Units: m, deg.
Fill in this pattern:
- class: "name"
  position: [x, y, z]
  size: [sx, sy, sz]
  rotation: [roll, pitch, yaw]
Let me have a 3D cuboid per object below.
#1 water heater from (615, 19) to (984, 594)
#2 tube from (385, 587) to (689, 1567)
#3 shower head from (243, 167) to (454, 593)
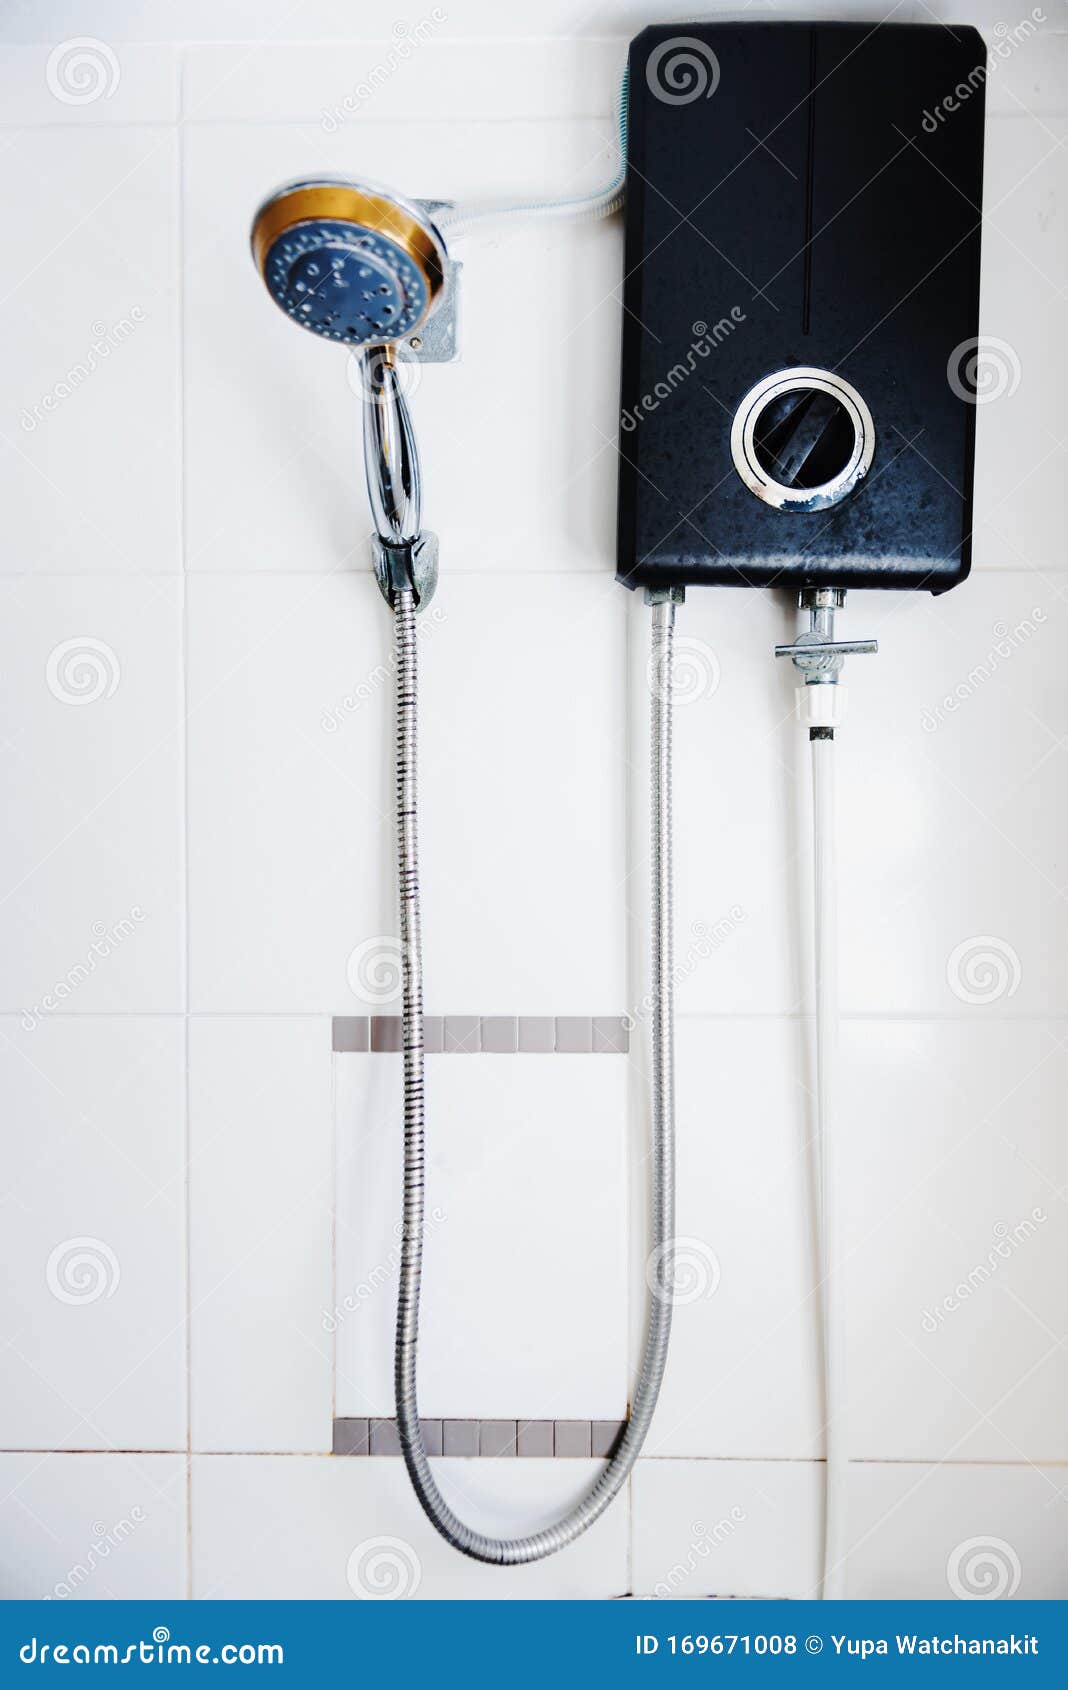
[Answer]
- class: "water heater"
  position: [0.193, -0.379, 1.279]
  size: [0.291, 0.390, 0.092]
  rotation: [1, 5, -4]
- class: "tube"
  position: [-0.010, 0.168, 1.393]
  size: [0.240, 0.769, 0.040]
  rotation: [3, 2, 17]
- class: "shower head"
  position: [-0.113, -0.342, 1.290]
  size: [0.121, 0.219, 0.377]
  rotation: [1, -28, 2]
